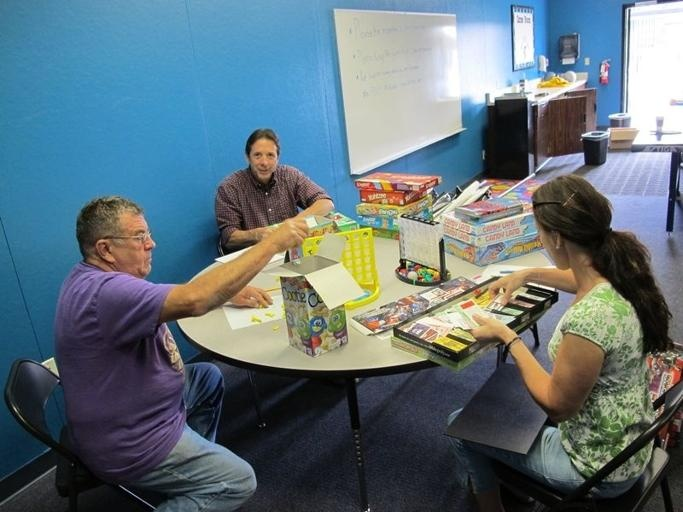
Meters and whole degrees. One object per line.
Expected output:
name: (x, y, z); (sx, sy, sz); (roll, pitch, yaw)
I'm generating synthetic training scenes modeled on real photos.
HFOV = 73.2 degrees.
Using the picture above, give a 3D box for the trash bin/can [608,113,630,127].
trash bin/can: (4.910, -2.387, 8.105); (0.404, 0.293, 0.404); (6, 22, 32)

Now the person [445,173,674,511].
person: (0.761, 0.465, 1.642); (0.643, 1.455, 0.526); (6, 23, 38)

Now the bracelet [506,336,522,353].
bracelet: (0.589, 0.303, 1.563); (0.046, 0.011, 0.047); (-45, 5, -3)

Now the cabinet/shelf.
cabinet/shelf: (3.231, -2.080, 7.423); (2.286, 1.220, 0.940); (-25, 24, -38)

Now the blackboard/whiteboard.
blackboard/whiteboard: (0.588, -1.781, 4.878); (0.057, 1.482, 1.929); (6, 24, 39)

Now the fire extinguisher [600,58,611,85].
fire extinguisher: (5.216, -3.627, 9.095); (0.195, 0.482, 0.132); (-3, 19, 17)
